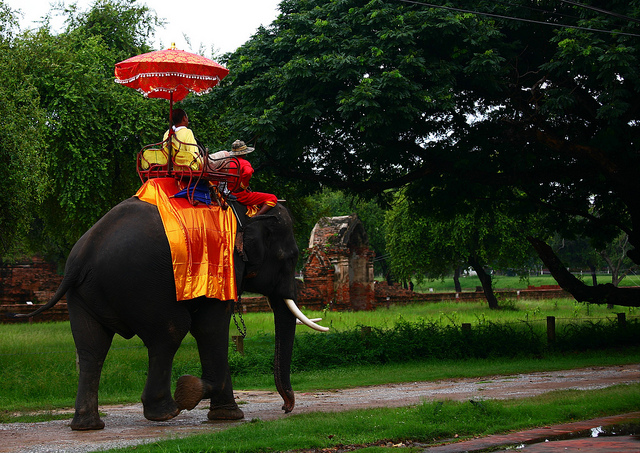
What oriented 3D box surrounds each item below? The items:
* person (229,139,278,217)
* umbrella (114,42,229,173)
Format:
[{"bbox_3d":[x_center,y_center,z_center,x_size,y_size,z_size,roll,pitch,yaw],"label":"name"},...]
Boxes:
[{"bbox_3d":[-1.497,-0.965,20.154,0.832,1.707,0.801,-3,9,-41],"label":"person"},{"bbox_3d":[-3.073,-2.464,20.165,2.375,2.848,2.392,2,-3,6],"label":"umbrella"}]
